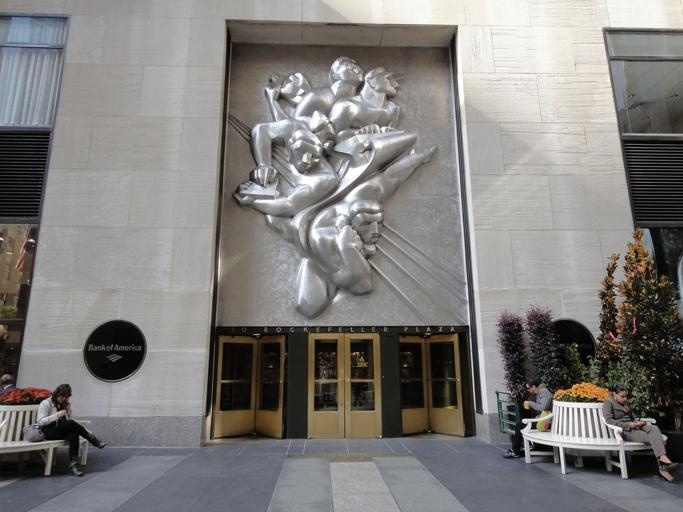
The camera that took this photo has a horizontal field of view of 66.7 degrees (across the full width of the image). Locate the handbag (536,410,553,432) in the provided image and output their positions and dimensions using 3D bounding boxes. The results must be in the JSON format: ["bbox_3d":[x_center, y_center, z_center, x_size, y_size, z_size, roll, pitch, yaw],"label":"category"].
[{"bbox_3d":[4.119,3.365,10.520,0.358,0.353,0.163,8,10,-14],"label":"handbag"}]

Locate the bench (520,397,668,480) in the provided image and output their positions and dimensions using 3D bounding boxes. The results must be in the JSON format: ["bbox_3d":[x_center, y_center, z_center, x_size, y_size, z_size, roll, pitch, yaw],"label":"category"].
[{"bbox_3d":[4.601,3.942,9.905,2.288,1.199,1.318,-4,-24,14],"label":"bench"}]

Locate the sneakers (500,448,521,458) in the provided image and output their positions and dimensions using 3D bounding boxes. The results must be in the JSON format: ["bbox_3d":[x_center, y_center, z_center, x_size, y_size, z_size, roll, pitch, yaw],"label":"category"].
[{"bbox_3d":[3.529,4.124,10.824,0.383,0.186,0.167,2,-12,8],"label":"sneakers"}]

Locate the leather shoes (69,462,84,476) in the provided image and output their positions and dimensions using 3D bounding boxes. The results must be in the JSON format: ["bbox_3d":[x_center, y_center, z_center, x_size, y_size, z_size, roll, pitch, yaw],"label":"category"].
[{"bbox_3d":[-4.979,3.988,9.773,0.227,0.220,0.534,2,-4,-27],"label":"leather shoes"}]

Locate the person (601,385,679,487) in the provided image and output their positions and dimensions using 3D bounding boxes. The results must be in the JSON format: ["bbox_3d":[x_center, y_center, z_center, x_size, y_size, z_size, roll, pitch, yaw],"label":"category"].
[{"bbox_3d":[5.477,3.233,9.613,1.105,1.569,0.531,-2,-4,31],"label":"person"}]

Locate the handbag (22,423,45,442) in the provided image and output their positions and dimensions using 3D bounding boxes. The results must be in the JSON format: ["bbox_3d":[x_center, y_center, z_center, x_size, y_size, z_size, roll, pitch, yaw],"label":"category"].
[{"bbox_3d":[-5.733,3.320,9.662,0.300,0.374,0.155,-9,0,-16],"label":"handbag"}]

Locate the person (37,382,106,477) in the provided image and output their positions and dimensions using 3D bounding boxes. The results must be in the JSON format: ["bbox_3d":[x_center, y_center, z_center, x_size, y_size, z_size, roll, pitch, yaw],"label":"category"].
[{"bbox_3d":[-5.209,3.310,10.048,1.270,1.752,0.772,6,4,19],"label":"person"}]
